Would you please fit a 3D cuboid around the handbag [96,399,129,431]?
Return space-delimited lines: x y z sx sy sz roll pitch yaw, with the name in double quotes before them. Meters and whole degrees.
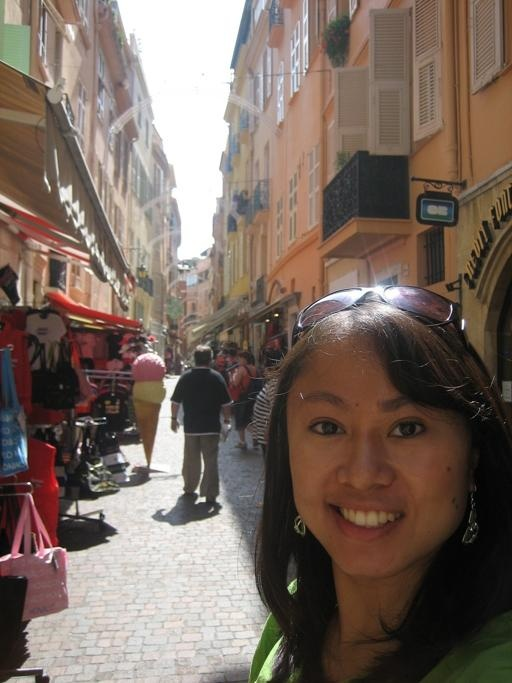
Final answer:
"handbag" -2.444 1.257 10.716 0.363 0.644 1.127 -3 -1 3

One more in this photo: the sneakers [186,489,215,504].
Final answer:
"sneakers" -0.634 1.709 6.976 0.434 0.222 0.146 -13 -13 39

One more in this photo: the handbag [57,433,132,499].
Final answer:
"handbag" -1.722 1.347 6.528 0.539 0.348 0.802 4 9 -5

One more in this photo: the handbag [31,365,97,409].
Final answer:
"handbag" -1.493 0.325 4.934 0.356 0.309 0.492 5 7 -30
